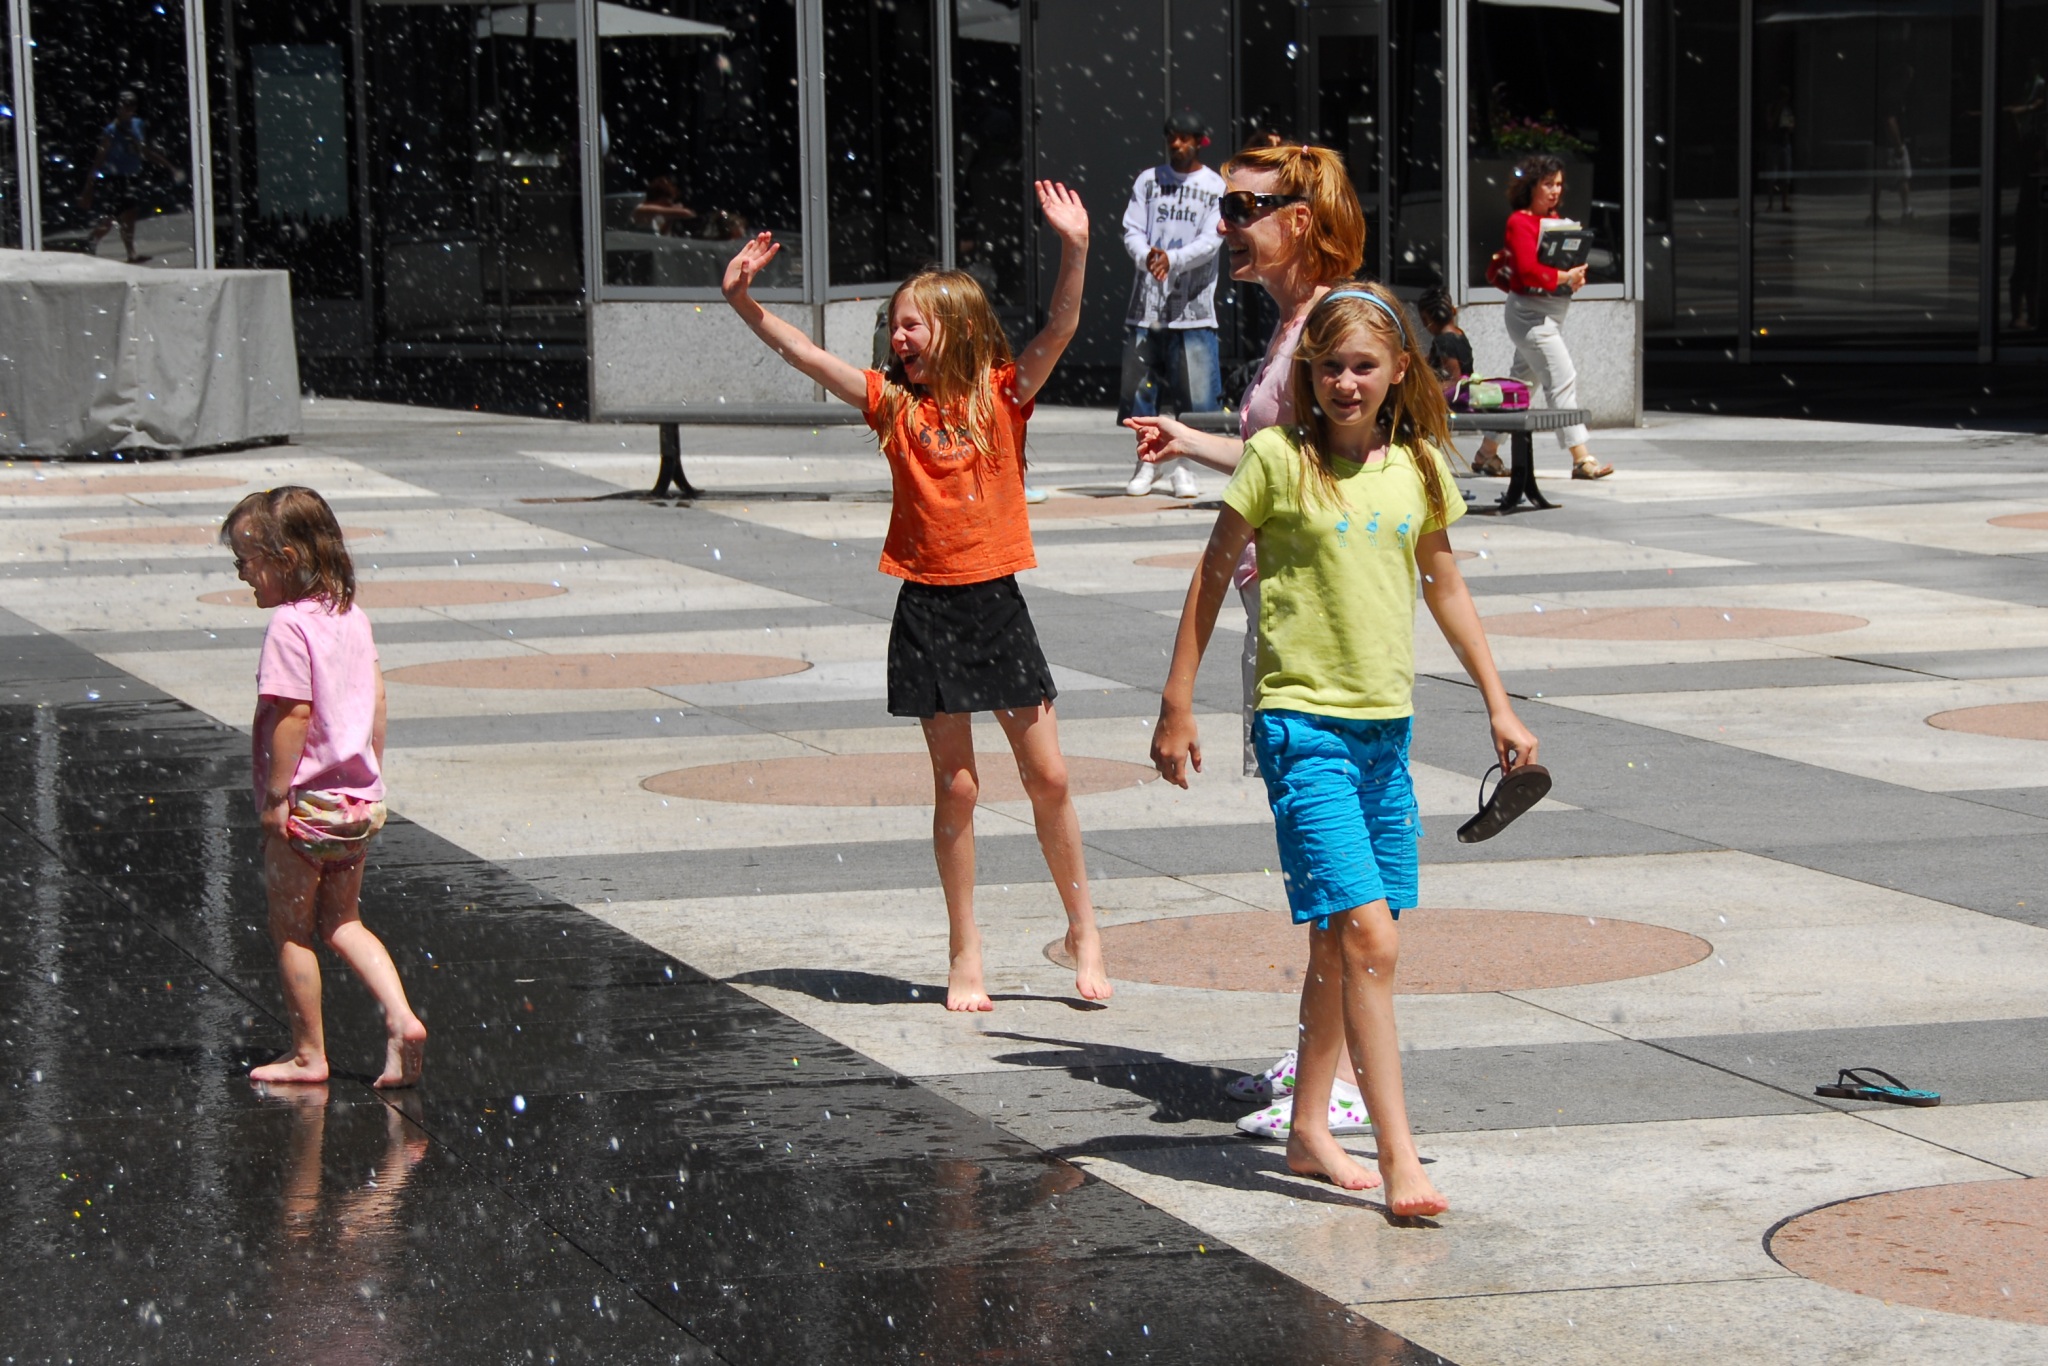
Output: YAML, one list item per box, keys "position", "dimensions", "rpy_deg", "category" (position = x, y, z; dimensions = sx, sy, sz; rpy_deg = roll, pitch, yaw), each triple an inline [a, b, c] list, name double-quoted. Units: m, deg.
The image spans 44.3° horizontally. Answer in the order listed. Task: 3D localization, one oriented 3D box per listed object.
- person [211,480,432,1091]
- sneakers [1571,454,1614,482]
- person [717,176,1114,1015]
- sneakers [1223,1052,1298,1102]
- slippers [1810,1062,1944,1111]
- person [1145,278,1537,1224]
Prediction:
- position: [-1.778, 0.259, 6.337]
  dimensions: [0.435, 1.489, 0.447]
  rpy_deg: [-3, 10, -13]
  category: "person"
- position: [4.091, -1.542, 18.267]
  dimensions: [0.324, 0.119, 0.182]
  rpy_deg: [4, 9, 45]
  category: "sneakers"
- position: [-0.240, -0.242, 6.961]
  dimensions: [0.878, 2.260, 0.561]
  rpy_deg: [-2, 10, -3]
  category: "person"
- position: [0.580, 0.979, 6.215]
  dimensions: [0.155, 0.055, 0.195]
  rpy_deg: [-6, 3, -44]
  category: "sneakers"
- position: [2.120, 0.993, 6.198]
  dimensions: [0.287, 0.051, 0.266]
  rpy_deg: [7, 12, 40]
  category: "slippers"
- position: [0.716, 0.128, 5.685]
  dimensions: [0.778, 2.038, 0.682]
  rpy_deg: [3, 11, 23]
  category: "person"
